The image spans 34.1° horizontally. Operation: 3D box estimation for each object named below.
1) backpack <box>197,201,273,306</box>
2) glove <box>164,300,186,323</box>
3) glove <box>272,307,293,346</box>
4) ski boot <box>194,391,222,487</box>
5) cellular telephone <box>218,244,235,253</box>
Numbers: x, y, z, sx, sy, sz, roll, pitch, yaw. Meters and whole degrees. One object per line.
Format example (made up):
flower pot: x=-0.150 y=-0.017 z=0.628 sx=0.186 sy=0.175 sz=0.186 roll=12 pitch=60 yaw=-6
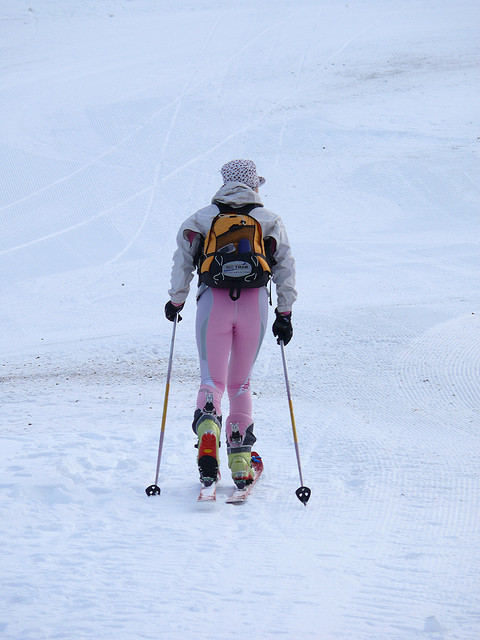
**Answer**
backpack: x=-0.015 y=-0.452 z=4.855 sx=0.487 sy=0.540 sz=0.363 roll=2 pitch=14 yaw=10
glove: x=-0.436 y=-0.054 z=5.086 sx=0.107 sy=0.146 sz=0.146 roll=3 pitch=7 yaw=-6
glove: x=0.269 y=0.044 z=5.086 sx=0.124 sy=0.234 sz=0.233 roll=4 pitch=7 yaw=2
ski boot: x=-0.201 y=0.727 z=4.745 sx=0.149 sy=0.591 sz=0.189 roll=4 pitch=8 yaw=-3
cellular telephone: x=-0.084 y=-0.435 z=4.720 sx=0.097 sy=0.038 sz=0.020 roll=-15 pitch=-17 yaw=6
